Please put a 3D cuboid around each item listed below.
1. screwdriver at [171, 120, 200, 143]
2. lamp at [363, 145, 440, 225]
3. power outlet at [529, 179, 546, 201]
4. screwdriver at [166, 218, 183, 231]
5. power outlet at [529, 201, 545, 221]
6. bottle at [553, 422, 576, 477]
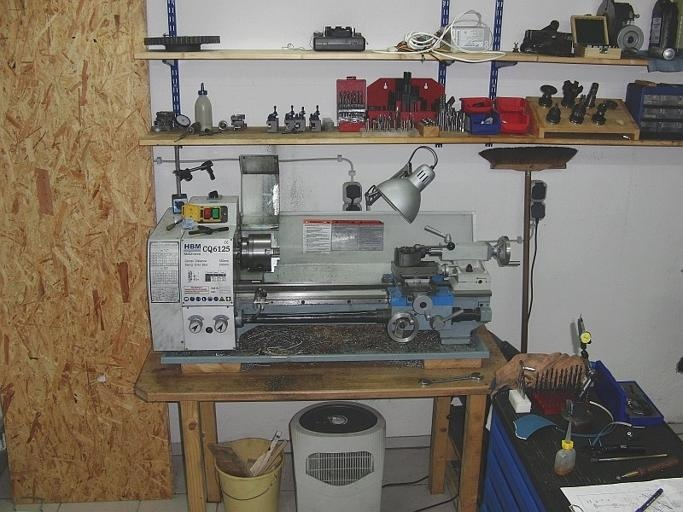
[{"bbox_3d":[-0.896,-0.708,3.639,0.058,0.065,0.265,29,33,-4],"label":"screwdriver"},{"bbox_3d":[0.375,-0.380,3.596,0.363,0.481,0.637,2,11,19],"label":"lamp"},{"bbox_3d":[1.289,-0.423,4.078,0.110,0.118,0.030,2,7,-7],"label":"power outlet"},{"bbox_3d":[-0.947,-0.179,3.573,0.036,0.023,0.167,17,29,6],"label":"screwdriver"},{"bbox_3d":[1.305,-0.288,4.121,0.110,0.135,0.062,-1,10,1],"label":"power outlet"},{"bbox_3d":[1.087,0.931,3.011,0.086,0.201,0.181,7,13,41],"label":"bottle"}]
